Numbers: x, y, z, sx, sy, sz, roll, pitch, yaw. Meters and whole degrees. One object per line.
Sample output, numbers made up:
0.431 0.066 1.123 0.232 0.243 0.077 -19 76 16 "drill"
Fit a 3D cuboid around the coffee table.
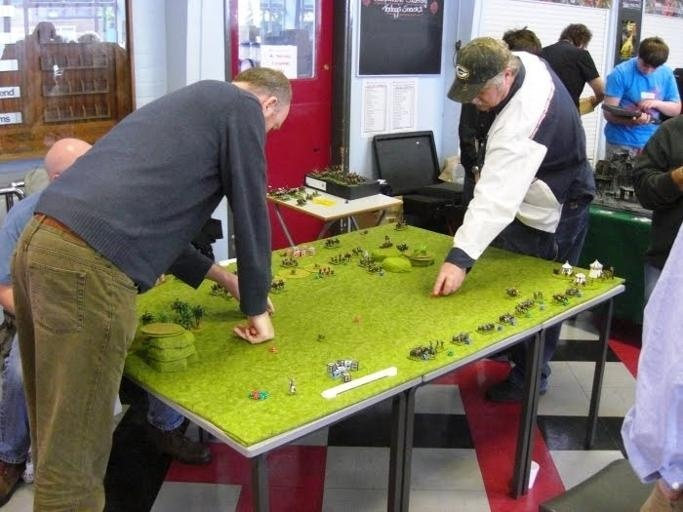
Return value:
-0.016 -0.274 4.760 0.754 0.475 0.779 -15 26 -36 "coffee table"
